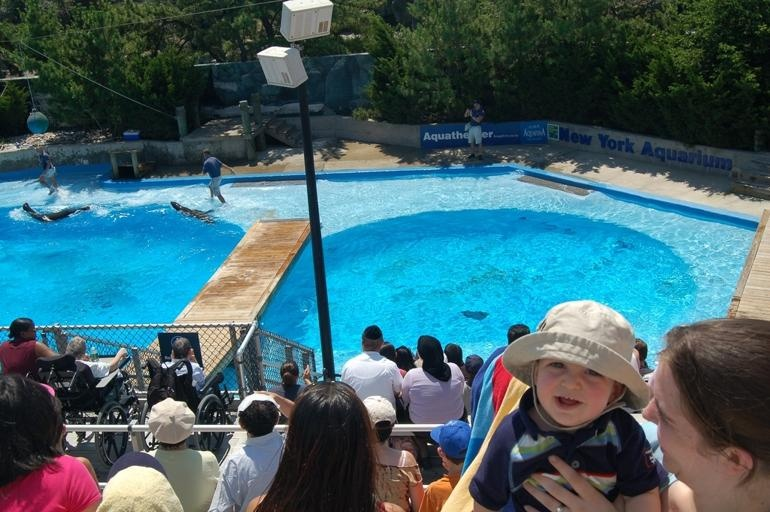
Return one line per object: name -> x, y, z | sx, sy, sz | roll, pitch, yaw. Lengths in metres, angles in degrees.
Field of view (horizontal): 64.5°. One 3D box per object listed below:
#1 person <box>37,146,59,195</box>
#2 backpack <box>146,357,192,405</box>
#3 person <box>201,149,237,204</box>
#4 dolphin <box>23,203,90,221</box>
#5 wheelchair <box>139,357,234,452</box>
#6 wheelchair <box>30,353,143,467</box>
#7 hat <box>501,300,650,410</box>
person -> -12.201, -3.111, 22.016 | 0.561, 1.543, 2.993 | -6, 11, -29
backpack -> -2.473, 1.444, 6.999 | 0.437, 0.625, 0.337 | -3, 7, -20
person -> -5.365, -2.596, 19.665 | 0.946, 1.596, 3.639 | -3, 10, -14
dolphin -> -10.097, -1.343, 18.626 | 1.834, 0.451, 1.081 | -4, 10, -18
wheelchair -> -2.395, 1.785, 7.369 | 0.829, 1.136, 1.279 | -1, 7, 5
wheelchair -> -3.625, 1.836, 7.542 | 1.133, 1.273, 1.519 | -5, 6, -3
hat -> 0.962, 0.420, 2.910 | 0.607, 0.318, 0.594 | 2, 0, 14
